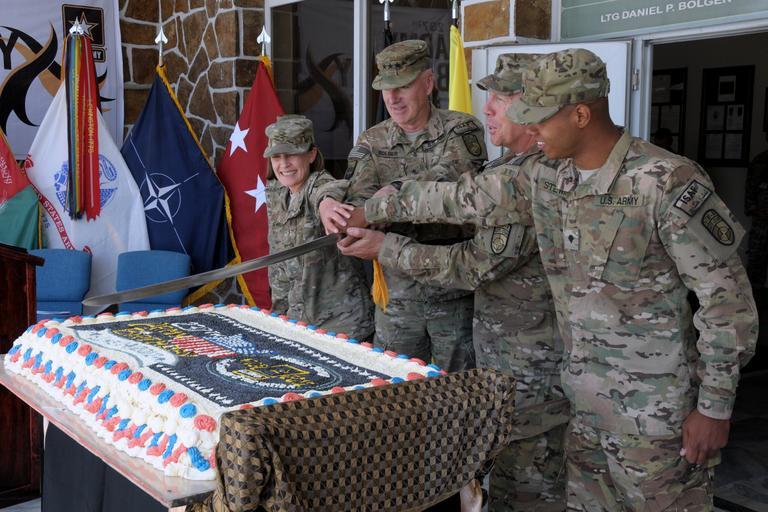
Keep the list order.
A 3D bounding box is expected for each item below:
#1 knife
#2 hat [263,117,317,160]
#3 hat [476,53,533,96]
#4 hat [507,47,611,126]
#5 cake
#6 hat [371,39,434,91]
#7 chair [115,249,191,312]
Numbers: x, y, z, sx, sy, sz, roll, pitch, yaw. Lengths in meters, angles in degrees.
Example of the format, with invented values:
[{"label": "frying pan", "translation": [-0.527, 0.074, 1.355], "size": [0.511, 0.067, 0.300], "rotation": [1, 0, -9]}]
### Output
[{"label": "knife", "translation": [-1.232, 0.065, 5.274], "size": [1.689, 0.218, 0.075], "rotation": [-18, 16, -4]}, {"label": "hat", "translation": [-0.528, -0.661, 4.206], "size": [0.264, 0.207, 0.298], "rotation": [7, 16, 25]}, {"label": "hat", "translation": [0.579, -0.857, 3.568], "size": [0.257, 0.102, 0.171], "rotation": [-29, 33, -10]}, {"label": "hat", "translation": [0.693, -0.684, 3.055], "size": [0.366, 0.204, 0.274], "rotation": [-13, 22, 2]}, {"label": "cake", "translation": [-0.645, 0.562, 3.262], "size": [0.780, 0.225, 1.143], "rotation": [-3, 8, -38]}, {"label": "hat", "translation": [0.105, -1.007, 3.978], "size": [0.208, 0.120, 0.303], "rotation": [3, 45, 40]}, {"label": "chair", "translation": [-1.843, 0.224, 6.167], "size": [0.419, 0.681, 0.529], "rotation": [0, -8, -8]}]
